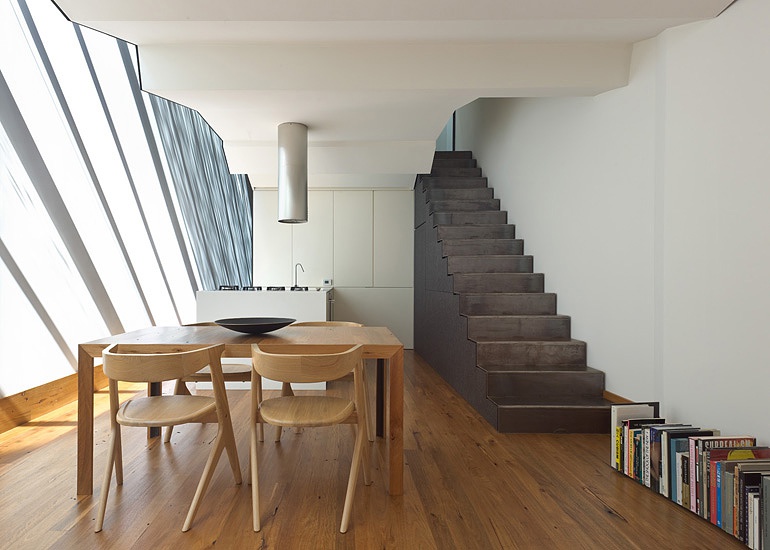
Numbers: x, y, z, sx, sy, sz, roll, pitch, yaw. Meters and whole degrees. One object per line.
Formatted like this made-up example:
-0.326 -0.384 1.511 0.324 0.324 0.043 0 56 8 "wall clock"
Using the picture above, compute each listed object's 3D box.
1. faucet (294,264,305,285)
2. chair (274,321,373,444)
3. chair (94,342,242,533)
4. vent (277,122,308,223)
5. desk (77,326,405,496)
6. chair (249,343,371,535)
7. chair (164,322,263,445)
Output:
-1.280 -0.014 8.248 0.137 0.332 0.240 0 9 21 "faucet"
-0.608 0.886 4.824 1.019 1.212 0.868 1 8 -3 "chair"
-1.467 1.022 3.837 0.847 1.065 0.775 1 -2 -5 "chair"
-0.934 -1.038 5.735 0.322 1.002 0.276 -4 9 -4 "vent"
-0.899 1.216 4.435 2.252 0.991 1.242 0 -3 1 "desk"
-0.520 1.041 3.909 0.819 1.122 0.845 1 1 -8 "chair"
-1.367 0.875 4.941 1.000 1.270 0.847 1 0 -17 "chair"
